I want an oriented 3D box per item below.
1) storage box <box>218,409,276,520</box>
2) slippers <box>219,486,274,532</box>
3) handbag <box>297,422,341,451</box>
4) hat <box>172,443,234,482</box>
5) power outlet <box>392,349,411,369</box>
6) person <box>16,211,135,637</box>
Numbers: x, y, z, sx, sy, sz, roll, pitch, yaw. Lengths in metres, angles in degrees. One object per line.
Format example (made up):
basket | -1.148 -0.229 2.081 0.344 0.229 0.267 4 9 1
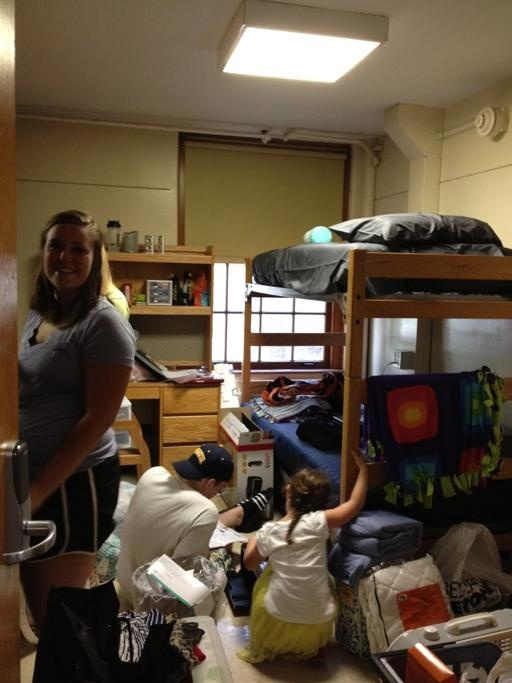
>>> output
storage box | -0.048 0.739 3.138 0.222 0.601 0.602 -2 8 -12
slippers | -0.053 0.952 3.083 0.396 0.161 0.125 13 5 -39
handbag | 0.385 0.530 3.057 0.160 0.057 0.158 2 9 -24
hat | -0.193 0.451 2.011 0.201 0.103 0.124 13 12 -23
power outlet | 1.071 0.130 3.961 0.106 0.140 0.192 -1 6 -7
person | -0.467 0.218 1.407 0.292 1.112 0.398 -2 6 -24
